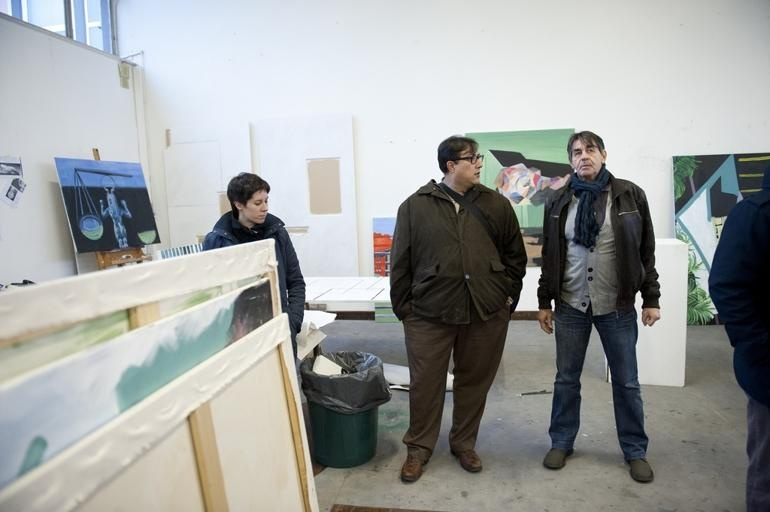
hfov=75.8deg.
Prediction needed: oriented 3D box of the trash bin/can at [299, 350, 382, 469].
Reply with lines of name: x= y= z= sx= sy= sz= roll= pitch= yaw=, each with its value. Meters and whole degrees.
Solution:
trash bin/can: x=-0.273 y=1.032 z=3.317 sx=0.572 sy=0.638 sz=0.635 roll=-9 pitch=8 yaw=-42

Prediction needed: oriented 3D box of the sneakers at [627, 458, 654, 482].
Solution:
sneakers: x=1.523 y=1.278 z=2.934 sx=0.074 sy=0.065 sz=0.174 roll=-5 pitch=-4 yaw=5

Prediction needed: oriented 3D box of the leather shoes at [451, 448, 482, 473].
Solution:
leather shoes: x=0.517 y=1.290 z=3.125 sx=0.081 sy=0.089 sz=0.222 roll=-2 pitch=-3 yaw=-26

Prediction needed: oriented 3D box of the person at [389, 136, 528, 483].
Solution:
person: x=0.454 y=0.318 z=2.998 sx=0.831 sy=2.038 sz=0.439 roll=-3 pitch=11 yaw=-1

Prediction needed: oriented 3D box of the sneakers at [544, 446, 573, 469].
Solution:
sneakers: x=1.060 y=1.260 z=3.062 sx=0.079 sy=0.084 sz=0.230 roll=-4 pitch=-8 yaw=27

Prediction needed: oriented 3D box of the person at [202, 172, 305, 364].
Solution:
person: x=-0.770 y=0.130 z=2.979 sx=0.577 sy=1.240 sz=0.484 roll=-7 pitch=12 yaw=-20

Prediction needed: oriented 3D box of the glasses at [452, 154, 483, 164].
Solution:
glasses: x=0.498 y=-0.571 z=2.917 sx=0.099 sy=0.030 sz=0.100 roll=-1 pitch=7 yaw=32

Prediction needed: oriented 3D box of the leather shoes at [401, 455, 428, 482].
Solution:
leather shoes: x=0.171 y=1.300 z=2.998 sx=0.090 sy=0.082 sz=0.205 roll=4 pitch=-2 yaw=15

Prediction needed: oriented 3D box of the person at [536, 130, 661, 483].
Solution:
person: x=1.281 y=0.286 z=2.981 sx=0.673 sy=2.030 sz=0.463 roll=1 pitch=12 yaw=18
